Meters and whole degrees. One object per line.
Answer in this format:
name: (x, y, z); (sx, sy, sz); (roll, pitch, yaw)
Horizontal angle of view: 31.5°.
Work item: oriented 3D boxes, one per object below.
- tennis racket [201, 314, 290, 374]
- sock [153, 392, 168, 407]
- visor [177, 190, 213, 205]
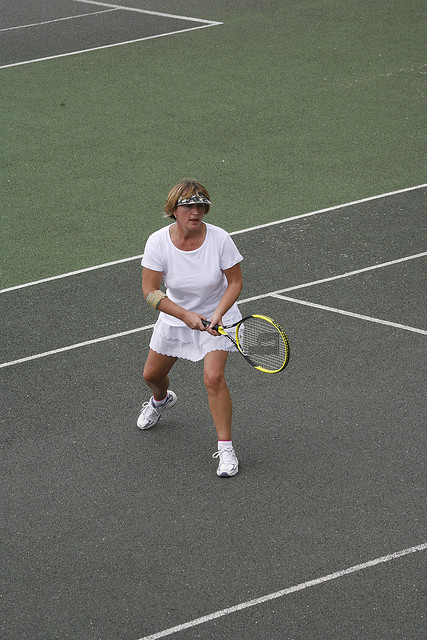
tennis racket: (0.191, 0.151, 4.821); (0.531, 0.568, 0.483); (0, 23, -2)
sock: (-0.401, 0.610, 5.673); (0.046, 0.128, 0.056); (24, -8, 24)
visor: (-0.093, -0.735, 4.586); (0.231, 0.104, 0.115); (-15, 27, -33)
